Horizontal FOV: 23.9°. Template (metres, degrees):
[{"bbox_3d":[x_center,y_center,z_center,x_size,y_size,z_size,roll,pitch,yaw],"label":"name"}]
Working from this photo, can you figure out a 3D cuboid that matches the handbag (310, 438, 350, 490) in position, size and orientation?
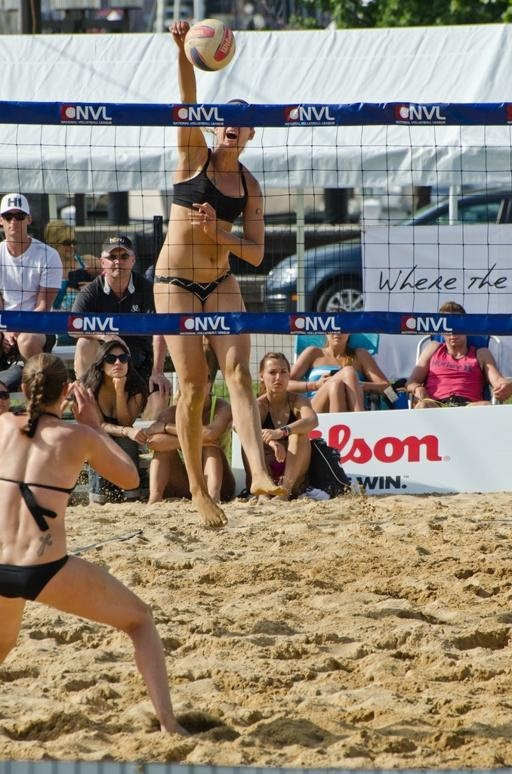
[{"bbox_3d":[0.430,0.474,7.187,0.165,0.331,0.232,-21,-12,23],"label":"handbag"}]
